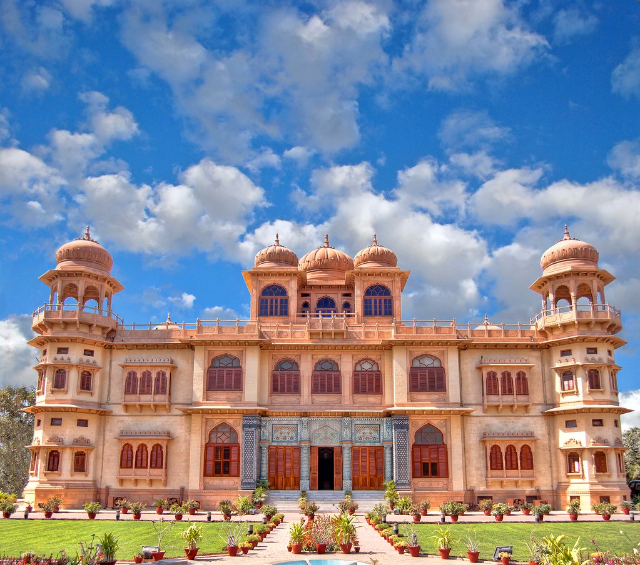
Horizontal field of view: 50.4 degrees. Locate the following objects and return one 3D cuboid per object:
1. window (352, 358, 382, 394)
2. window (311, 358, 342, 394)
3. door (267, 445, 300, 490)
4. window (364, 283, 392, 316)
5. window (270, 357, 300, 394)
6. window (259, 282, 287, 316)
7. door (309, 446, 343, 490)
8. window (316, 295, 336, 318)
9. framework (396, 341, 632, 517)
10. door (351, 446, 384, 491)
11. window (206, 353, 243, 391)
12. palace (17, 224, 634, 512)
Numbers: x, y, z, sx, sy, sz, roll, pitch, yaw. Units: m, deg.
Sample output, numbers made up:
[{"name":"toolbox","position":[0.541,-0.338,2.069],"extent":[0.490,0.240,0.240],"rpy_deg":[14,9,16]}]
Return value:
[{"name":"window","position":[2.981,5.978,42.818],"extent":[1.869,2.479,0.187],"rpy_deg":[0,20,5]},{"name":"window","position":[0.439,6.074,42.947],"extent":[2.440,2.896,0.235],"rpy_deg":[1,-31,-1]},{"name":"door","position":[-2.125,11.450,41.422],"extent":[2.732,3.234,0.234],"rpy_deg":[0,-25,0]},{"name":"window","position":[4.063,1.357,48.000],"extent":[2.565,2.956,0.265],"rpy_deg":[0,-29,2]},{"name":"window","position":[-2.142,6.063,43.062],"extent":[2.532,3.231,0.258],"rpy_deg":[0,-31,0]},{"name":"window","position":[-3.221,1.329,48.067],"extent":[2.379,2.566,0.382],"rpy_deg":[-1,-18,6]},{"name":"door","position":[0.395,11.469,41.540],"extent":[2.568,3.044,0.232],"rpy_deg":[-2,-6,6]},{"name":"window","position":[0.486,1.828,49.275],"extent":[1.647,1.726,0.263],"rpy_deg":[1,-26,3]},{"name":"framework","position":[11.308,9.166,40.496],"extent":[11.351,8.891,7.215],"rpy_deg":[-2,-16,5]},{"name":"door","position":[2.932,11.468,41.300],"extent":[2.633,3.109,0.228],"rpy_deg":[1,-19,-2]},{"name":"window","position":[-5.860,5.736,42.352],"extent":[2.611,2.870,0.225],"rpy_deg":[0,-31,-1]},{"name":"palace","position":[0.565,4.745,45.186],"extent":[37.280,17.064,8.760],"rpy_deg":[0,-5,0]}]
